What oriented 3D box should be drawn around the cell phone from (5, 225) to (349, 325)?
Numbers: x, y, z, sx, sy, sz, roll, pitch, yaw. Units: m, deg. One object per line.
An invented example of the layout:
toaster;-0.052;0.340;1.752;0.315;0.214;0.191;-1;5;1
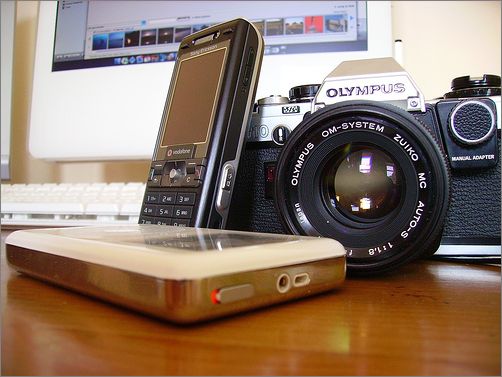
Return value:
cell phone;-0.091;0.060;0.370;0.322;0.054;0.153;4;7;30
